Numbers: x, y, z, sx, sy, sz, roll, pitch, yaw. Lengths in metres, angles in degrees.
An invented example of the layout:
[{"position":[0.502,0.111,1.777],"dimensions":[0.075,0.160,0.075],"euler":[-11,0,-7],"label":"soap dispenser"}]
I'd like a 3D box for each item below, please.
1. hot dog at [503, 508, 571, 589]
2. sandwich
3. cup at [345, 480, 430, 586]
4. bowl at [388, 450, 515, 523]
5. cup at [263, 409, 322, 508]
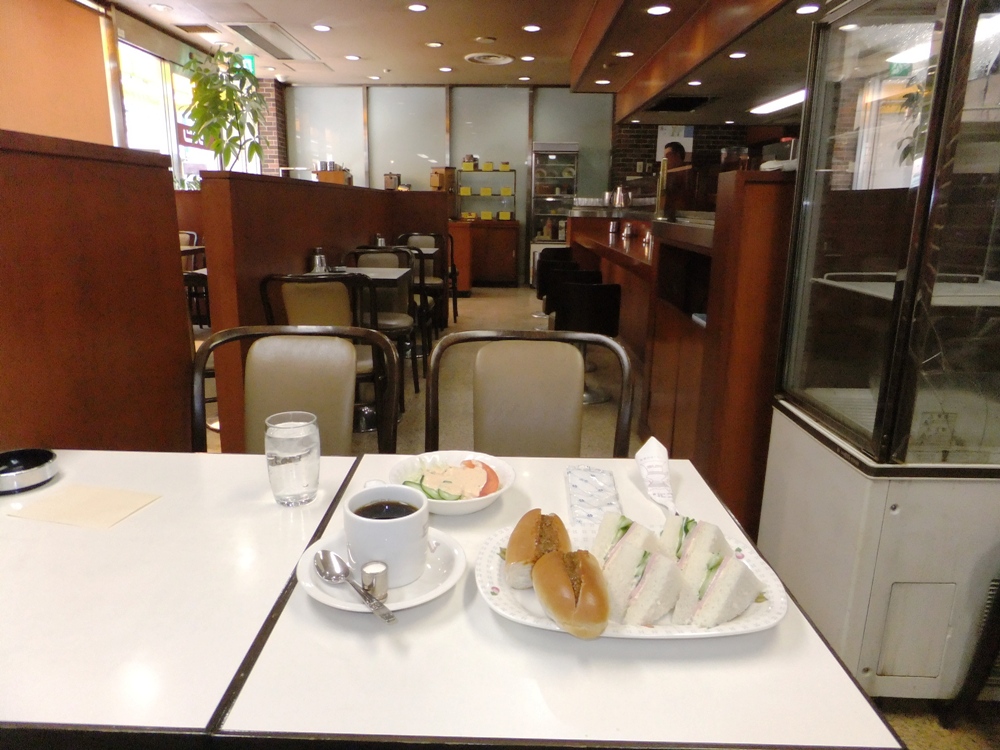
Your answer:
[{"position":[0.060,0.258,1.153],"dimensions":[0.111,0.058,0.157],"euler":[14,25,12],"label":"hot dog"},{"position":[0.258,0.261,1.086],"dimensions":[0.156,0.061,0.167],"euler":[4,11,13],"label":"sandwich"},{"position":[-0.167,0.237,1.180],"dimensions":[0.135,0.118,0.138],"euler":[3,20,-1],"label":"cup"},{"position":[-0.071,0.199,1.354],"dimensions":[0.217,0.053,0.216],"euler":[-2,21,1],"label":"bowl"},{"position":[-0.374,0.156,1.338],"dimensions":[0.113,0.173,0.109],"euler":[0,14,0],"label":"cup"}]
